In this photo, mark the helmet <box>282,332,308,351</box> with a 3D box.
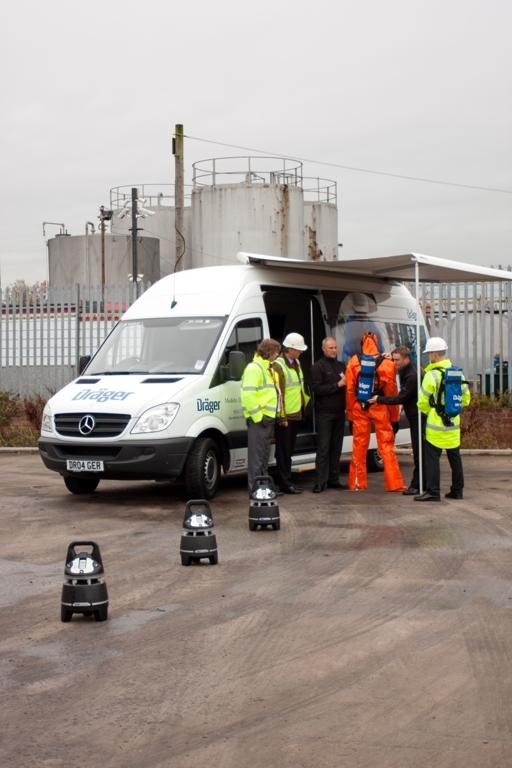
[{"bbox_3d":[0.462,-0.510,10.680,0.253,0.148,0.203,6,19,17],"label":"helmet"}]

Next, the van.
[{"bbox_3d":[0.039,-0.252,12.469,2.470,2.873,7.113,0,3,30],"label":"van"}]

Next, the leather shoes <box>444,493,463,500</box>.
[{"bbox_3d":[2.345,1.337,10.373,0.082,0.100,0.249,-1,3,-7],"label":"leather shoes"}]

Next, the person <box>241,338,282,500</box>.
[{"bbox_3d":[0.009,0.352,9.916,0.333,1.660,0.717,0,3,25],"label":"person"}]

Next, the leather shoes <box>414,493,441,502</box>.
[{"bbox_3d":[1.971,1.330,10.062,0.293,0.128,0.111,4,-1,3],"label":"leather shoes"}]

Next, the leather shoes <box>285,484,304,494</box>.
[{"bbox_3d":[0.495,1.331,10.850,0.275,0.116,0.097,0,7,11],"label":"leather shoes"}]

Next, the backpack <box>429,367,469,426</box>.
[{"bbox_3d":[2.190,0.147,10.005,0.339,0.670,0.353,0,3,30],"label":"backpack"}]

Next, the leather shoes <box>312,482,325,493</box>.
[{"bbox_3d":[0.797,1.345,11.114,0.121,0.114,0.372,-1,-1,5],"label":"leather shoes"}]

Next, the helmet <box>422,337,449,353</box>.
[{"bbox_3d":[2.100,-0.442,10.297,0.230,0.173,0.320,-4,10,-14],"label":"helmet"}]
